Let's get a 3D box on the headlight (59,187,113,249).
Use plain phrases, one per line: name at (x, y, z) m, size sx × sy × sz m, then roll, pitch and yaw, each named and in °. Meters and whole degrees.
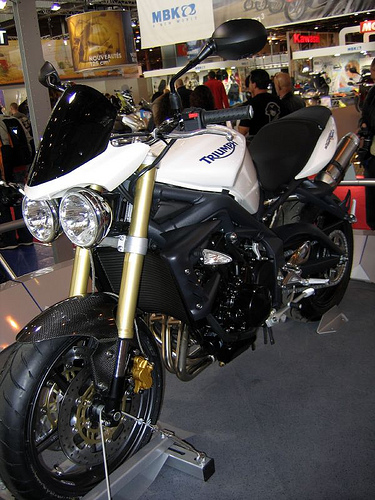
headlight at (-0.241, -0.082, 0.854) m, size 0.126 × 0.124 × 0.073 m, roll 24°, pitch 20°, yaw 27°
